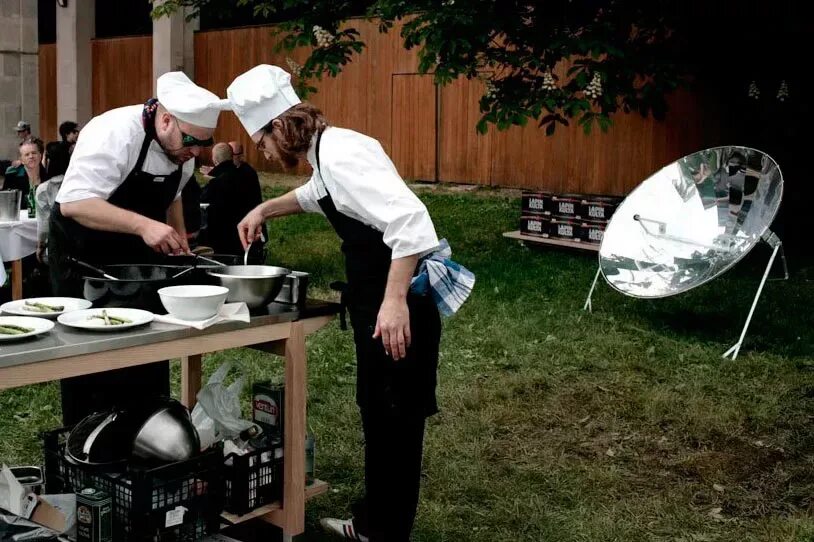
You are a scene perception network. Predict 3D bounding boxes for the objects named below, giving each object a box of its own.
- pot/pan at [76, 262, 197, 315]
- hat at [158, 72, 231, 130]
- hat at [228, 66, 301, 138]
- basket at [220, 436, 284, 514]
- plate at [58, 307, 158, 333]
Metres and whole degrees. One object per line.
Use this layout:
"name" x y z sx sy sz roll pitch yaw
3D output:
"pot/pan" -1.681 0.083 5.246 0.511 0.208 0.408 4 1 -38
"hat" -1.389 -1.121 5.492 0.526 0.357 0.304 5 8 1
"hat" -0.903 -1.054 5.191 0.485 0.453 0.243 9 9 28
"basket" -1.043 1.372 5.566 0.327 0.334 0.515 -5 -4 29
"plate" -1.783 0.286 4.968 0.547 0.113 0.259 6 8 5
